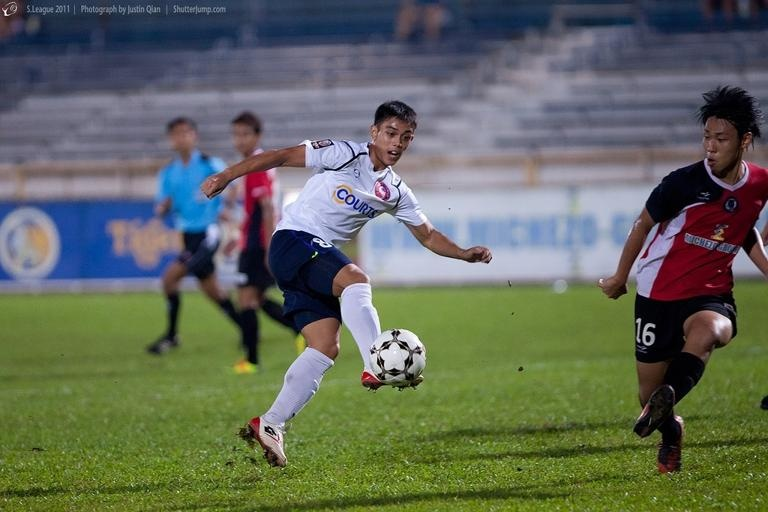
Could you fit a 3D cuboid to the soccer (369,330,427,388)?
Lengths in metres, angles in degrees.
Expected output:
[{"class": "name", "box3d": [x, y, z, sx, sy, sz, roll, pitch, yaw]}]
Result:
[{"class": "soccer", "box3d": [0.129, 1.263, 14.881, 0.716, 0.686, 0.684, 0, -15, -3]}]
